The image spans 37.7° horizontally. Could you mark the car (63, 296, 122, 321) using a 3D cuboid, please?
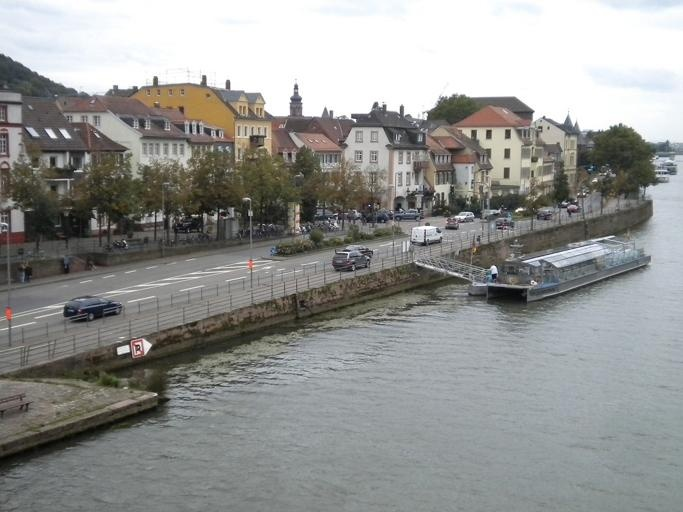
[{"bbox_3d":[-15.907,3.358,64.447,1.537,1.091,3.406,9,12,42],"label":"car"}]

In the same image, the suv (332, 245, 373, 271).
[{"bbox_3d":[0.885,0.158,81.319,1.582,1.321,3.461,5,14,31],"label":"suv"}]

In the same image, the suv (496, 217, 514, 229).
[{"bbox_3d":[17.955,-3.721,110.924,1.800,1.141,2.533,0,0,8],"label":"suv"}]

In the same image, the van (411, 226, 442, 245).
[{"bbox_3d":[7.983,-2.047,94.364,1.531,1.345,3.000,7,13,39],"label":"van"}]

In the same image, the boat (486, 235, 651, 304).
[{"bbox_3d":[20.914,1.995,89.063,5.915,3.855,23.260,9,15,39],"label":"boat"}]

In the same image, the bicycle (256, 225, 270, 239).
[{"bbox_3d":[-7.865,-2.633,100.150,1.417,1.261,2.922,-2,2,-4],"label":"bicycle"}]

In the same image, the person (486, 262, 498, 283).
[{"bbox_3d":[12.223,1.395,81.358,0.685,1.286,1.736,-2,3,9],"label":"person"}]

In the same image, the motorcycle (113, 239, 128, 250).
[{"bbox_3d":[-18.639,-1.024,84.614,1.096,0.747,0.629,-3,-21,5],"label":"motorcycle"}]

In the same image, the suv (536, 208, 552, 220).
[{"bbox_3d":[24.944,-5.396,123.480,1.744,1.387,2.715,-1,-2,22],"label":"suv"}]

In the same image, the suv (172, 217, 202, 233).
[{"bbox_3d":[-14.431,-3.132,98.529,3.060,1.282,1.470,1,3,17],"label":"suv"}]
